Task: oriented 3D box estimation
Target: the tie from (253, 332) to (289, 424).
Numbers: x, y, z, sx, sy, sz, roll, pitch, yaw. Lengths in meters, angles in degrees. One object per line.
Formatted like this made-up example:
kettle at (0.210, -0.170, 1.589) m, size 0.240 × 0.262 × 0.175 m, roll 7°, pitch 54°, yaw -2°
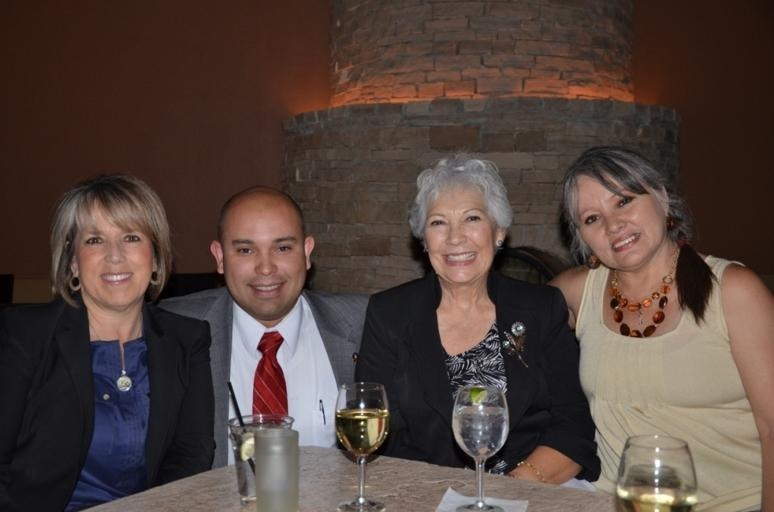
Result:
tie at (-0.557, 0.557, 2.838) m, size 0.168 × 0.395 × 0.253 m, roll -2°, pitch -4°, yaw -10°
